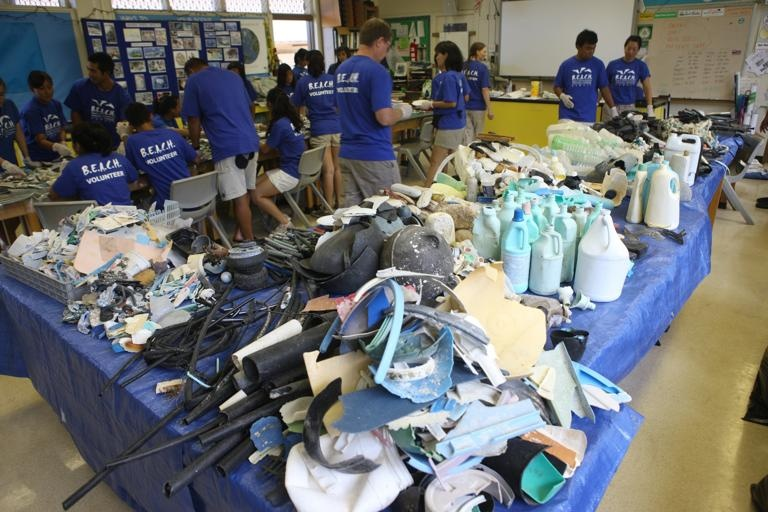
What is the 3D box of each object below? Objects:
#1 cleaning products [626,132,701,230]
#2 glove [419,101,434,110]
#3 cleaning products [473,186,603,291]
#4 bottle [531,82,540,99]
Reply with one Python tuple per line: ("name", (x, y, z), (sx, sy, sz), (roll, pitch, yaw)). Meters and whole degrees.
("cleaning products", (1.729, -0.445, 3.246), (0.274, 0.522, 0.864), (15, 36, 32))
("glove", (0.423, -1.482, 5.206), (0.153, 0.057, 0.213), (-3, 18, -2))
("cleaning products", (0.739, -0.157, 2.654), (0.569, 0.578, 0.352), (12, 28, 26))
("bottle", (2.089, -2.303, 7.238), (0.106, 0.194, 0.195), (6, 23, 17))
